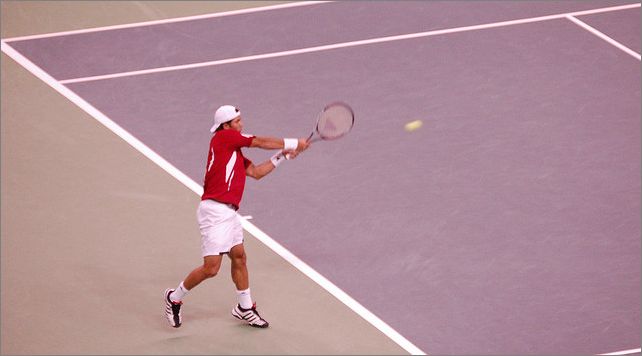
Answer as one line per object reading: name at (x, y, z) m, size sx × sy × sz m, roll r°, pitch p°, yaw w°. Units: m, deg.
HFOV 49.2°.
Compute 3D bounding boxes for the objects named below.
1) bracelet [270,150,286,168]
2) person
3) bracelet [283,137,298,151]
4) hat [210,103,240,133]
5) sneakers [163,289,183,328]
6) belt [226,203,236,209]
bracelet at (-0.610, -0.308, 10.436) m, size 0.257 × 0.206 × 0.117 m, roll -35°, pitch -11°, yaw 9°
person at (-1.360, 0.527, 10.117) m, size 1.342 × 3.212 × 0.961 m, roll 8°, pitch -16°, yaw -11°
bracelet at (-0.430, -0.499, 10.284) m, size 0.227 × 0.191 × 0.155 m, roll 4°, pitch 28°, yaw -7°
hat at (-1.360, -0.907, 10.205) m, size 0.479 × 0.280 × 0.329 m, roll -30°, pitch 15°, yaw 13°
sneakers at (-2.084, 1.864, 10.051) m, size 0.276 × 0.561 × 0.217 m, roll -13°, pitch 0°, yaw 44°
belt at (-1.247, 0.394, 9.943) m, size 0.094 × 0.033 × 0.067 m, roll 34°, pitch -24°, yaw -12°
